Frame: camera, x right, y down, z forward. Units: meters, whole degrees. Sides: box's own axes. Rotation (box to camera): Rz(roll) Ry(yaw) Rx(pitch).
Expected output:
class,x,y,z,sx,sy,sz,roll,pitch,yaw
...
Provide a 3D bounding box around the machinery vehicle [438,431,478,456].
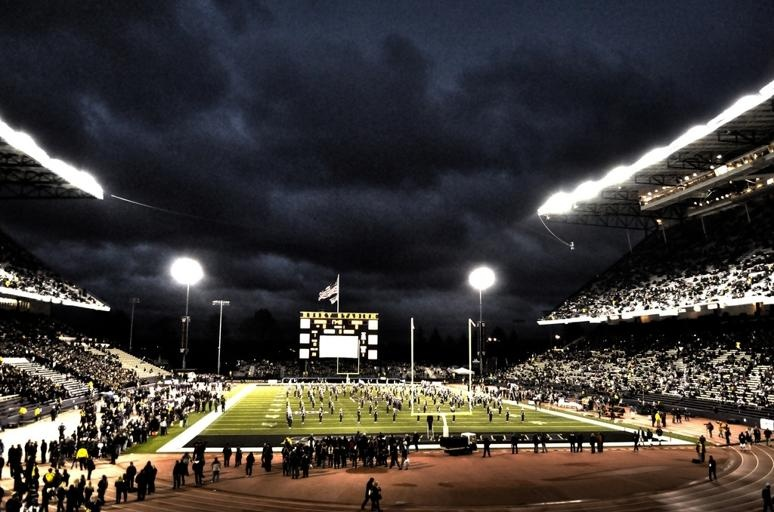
class,x,y,z,sx,sy,sz,roll,pitch,yaw
machinery vehicle,5.105,13.712,44.804,2.247,1.150,1.403,1,-7,-7
